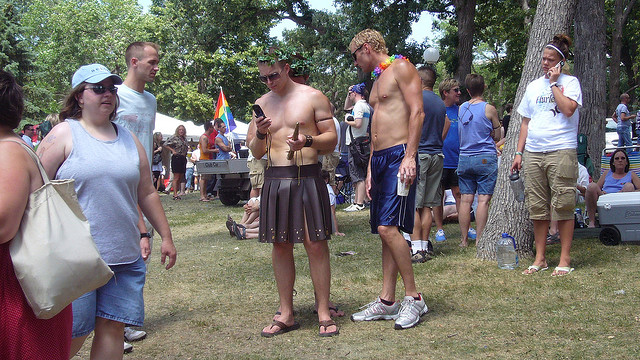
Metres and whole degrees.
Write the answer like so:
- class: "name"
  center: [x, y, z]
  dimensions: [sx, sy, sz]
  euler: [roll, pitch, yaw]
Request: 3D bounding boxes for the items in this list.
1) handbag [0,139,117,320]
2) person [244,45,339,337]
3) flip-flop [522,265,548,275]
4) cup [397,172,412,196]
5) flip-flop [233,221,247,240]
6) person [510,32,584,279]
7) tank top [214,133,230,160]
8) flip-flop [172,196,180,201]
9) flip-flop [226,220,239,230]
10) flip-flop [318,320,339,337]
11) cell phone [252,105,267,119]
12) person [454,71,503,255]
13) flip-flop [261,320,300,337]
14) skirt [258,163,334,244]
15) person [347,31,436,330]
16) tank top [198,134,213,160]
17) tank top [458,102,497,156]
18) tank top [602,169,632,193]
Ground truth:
- class: "handbag"
  center: [-2.199, 0.571, 4.685]
  dimensions: [0.670, 1.094, 0.321]
  euler: [-13, 15, -33]
- class: "person"
  center: [-0.273, 0.073, 6.416]
  dimensions: [1.017, 3.194, 1.064]
  euler: [-6, 13, -3]
- class: "flip-flop"
  center: [2.850, 1.204, 7.496]
  dimensions: [0.305, 0.062, 0.117]
  euler: [-1, -1, -28]
- class: "cup"
  center: [0.952, 0.077, 6.451]
  dimensions: [0.252, 0.214, 0.233]
  euler: [-2, 1, 0]
- class: "flip-flop"
  center: [-1.493, 0.947, 10.261]
  dimensions: [0.156, 0.366, 0.138]
  euler: [-14, -19, -21]
- class: "person"
  center: [3.073, -0.345, 7.558]
  dimensions: [0.827, 3.195, 1.585]
  euler: [0, 14, 23]
- class: "tank top"
  center: [-2.827, -0.958, 15.957]
  dimensions: [0.379, 0.717, 1.254]
  euler: [-7, 12, -9]
- class: "flip-flop"
  center: [-4.531, 0.566, 17.544]
  dimensions: [0.136, 0.143, 0.387]
  euler: [-2, 0, -39]
- class: "flip-flop"
  center: [-1.668, 0.836, 10.374]
  dimensions: [0.132, 0.138, 0.134]
  euler: [-3, 7, -11]
- class: "flip-flop"
  center: [0.086, 1.650, 6.222]
  dimensions: [0.235, 0.139, 0.171]
  euler: [-4, 12, -2]
- class: "cell phone"
  center: [-0.681, -0.777, 6.308]
  dimensions: [0.130, 0.160, 0.176]
  euler: [-4, 12, 3]
- class: "person"
  center: [2.506, -0.312, 8.847]
  dimensions: [0.635, 2.687, 0.872]
  euler: [-1, 14, 17]
- class: "flip-flop"
  center: [-0.445, 1.671, 6.319]
  dimensions: [0.444, 0.111, 0.156]
  euler: [1, -5, -35]
- class: "skirt"
  center: [-0.310, 0.277, 6.389]
  dimensions: [0.825, 0.886, 0.383]
  euler: [-4, 13, 4]
- class: "person"
  center: [0.825, -0.058, 6.483]
  dimensions: [0.836, 3.345, 1.276]
  euler: [-3, 13, 10]
- class: "tank top"
  center: [-3.332, -0.986, 16.258]
  dimensions: [0.430, 0.748, 0.608]
  euler: [-7, 13, -10]
- class: "tank top"
  center: [2.493, -0.821, 8.902]
  dimensions: [0.555, 0.813, 0.465]
  euler: [-2, 13, 10]
- class: "tank top"
  center: [5.077, 0.027, 9.530]
  dimensions: [0.262, 0.423, 0.377]
  euler: [33, -21, -31]
